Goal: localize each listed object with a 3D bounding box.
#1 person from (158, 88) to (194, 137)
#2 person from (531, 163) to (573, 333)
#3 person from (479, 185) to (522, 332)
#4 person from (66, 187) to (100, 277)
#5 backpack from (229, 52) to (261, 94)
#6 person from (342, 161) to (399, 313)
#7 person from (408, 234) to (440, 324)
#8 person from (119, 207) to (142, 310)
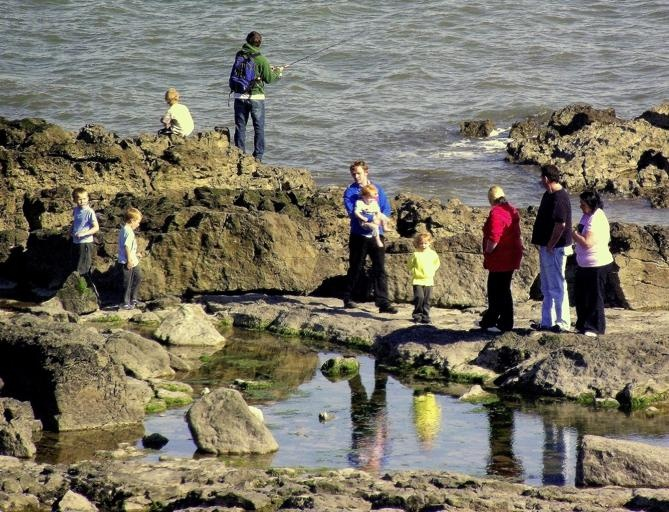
[{"bbox_3d":[-3.682,-3.331,40.815,0.740,1.064,0.858,2,15,29],"label":"person"},{"bbox_3d":[4.322,-0.168,34.747,1.031,3.197,1.407,3,1,1],"label":"person"},{"bbox_3d":[3.308,0.056,34.677,0.777,2.847,0.593,2,16,4],"label":"person"},{"bbox_3d":[-5.265,-0.510,36.993,0.519,1.878,0.555,-2,16,-10],"label":"person"},{"bbox_3d":[-2.122,-4.249,40.828,0.626,1.023,0.294,3,16,8],"label":"backpack"},{"bbox_3d":[0.637,-0.498,36.499,1.347,2.859,1.108,3,15,8],"label":"person"},{"bbox_3d":[1.859,0.387,35.847,0.725,1.745,0.589,2,0,-34],"label":"person"},{"bbox_3d":[-4.312,0.009,36.904,0.480,2.009,0.751,-1,16,-6],"label":"person"}]
